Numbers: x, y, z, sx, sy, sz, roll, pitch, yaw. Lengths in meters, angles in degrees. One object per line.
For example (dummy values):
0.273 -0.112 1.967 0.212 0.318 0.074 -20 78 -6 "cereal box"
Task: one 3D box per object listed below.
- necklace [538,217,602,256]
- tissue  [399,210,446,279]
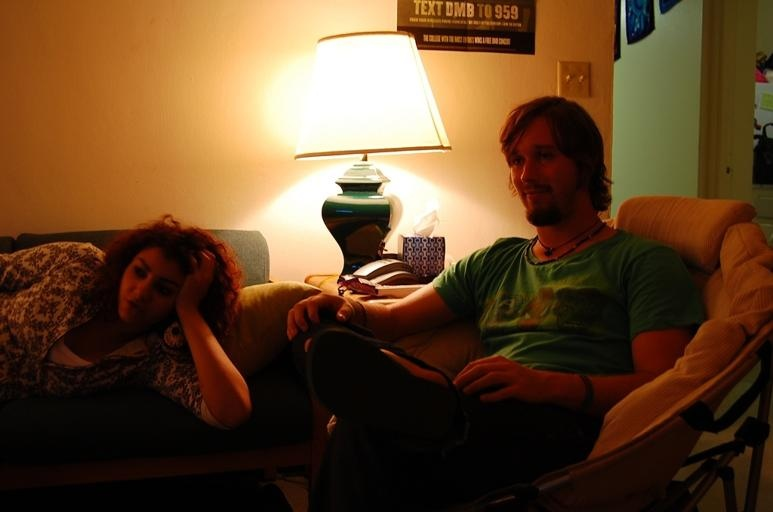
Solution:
0.561 -0.058 1.749 0.142 0.026 0.119 -38 13 4 "necklace"
0.152 -0.034 2.414 0.170 0.249 0.156 3 -4 -22 "tissue "
